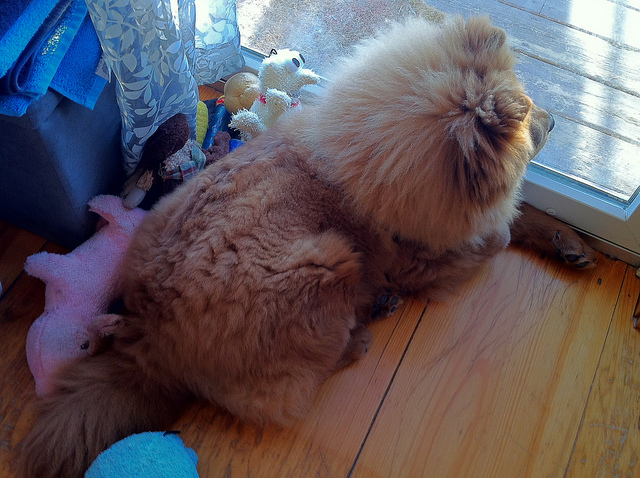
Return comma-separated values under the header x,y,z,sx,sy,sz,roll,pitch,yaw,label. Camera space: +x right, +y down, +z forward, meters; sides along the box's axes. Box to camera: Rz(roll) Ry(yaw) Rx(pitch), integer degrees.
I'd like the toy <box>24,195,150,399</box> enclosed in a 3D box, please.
x,y,z,sx,sy,sz,roll,pitch,yaw,label
-0.638,0.164,1.594,0.222,0.336,0.534,26,77,-32,toy

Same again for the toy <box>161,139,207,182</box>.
x,y,z,sx,sy,sz,roll,pitch,yaw,label
-0.390,-0.231,1.686,0.143,0.061,0.104,-34,52,-21,toy

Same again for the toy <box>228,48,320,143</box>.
x,y,z,sx,sy,sz,roll,pitch,yaw,label
-0.136,-0.402,1.740,0.189,0.279,0.252,24,44,15,toy

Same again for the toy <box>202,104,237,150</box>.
x,y,z,sx,sy,sz,roll,pitch,yaw,label
-0.313,-0.382,1.880,0.050,0.049,0.287,15,45,3,toy

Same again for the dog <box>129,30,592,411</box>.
x,y,z,sx,sy,sz,roll,pitch,yaw,label
0.108,0.011,1.697,1.295,0.540,0.727,-39,57,-6,dog
